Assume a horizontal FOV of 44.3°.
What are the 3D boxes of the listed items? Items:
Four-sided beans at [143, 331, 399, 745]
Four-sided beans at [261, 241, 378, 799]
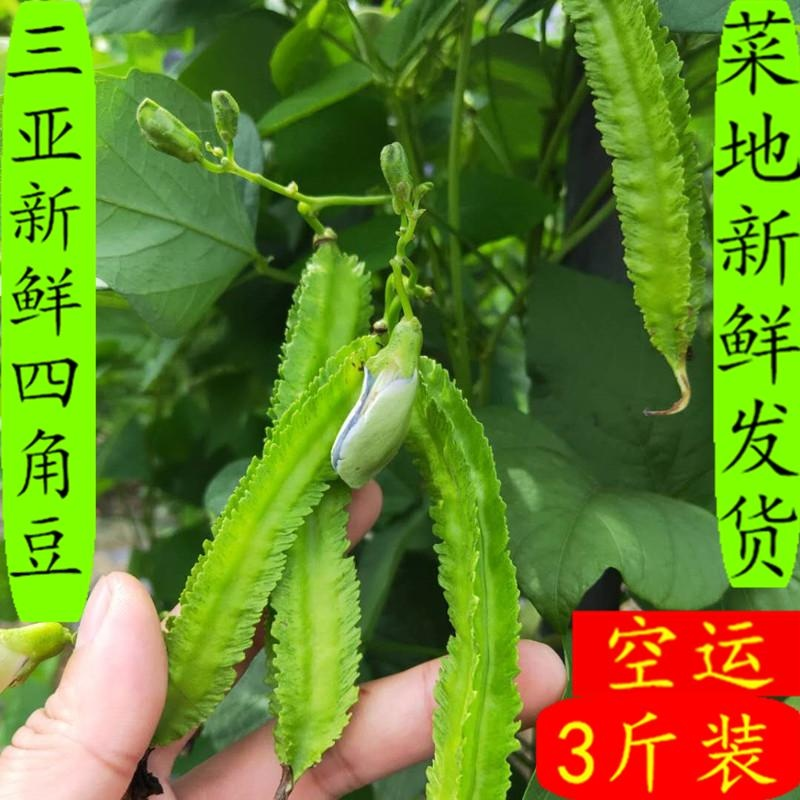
[{"bbox_3d":[-0.097,0.090,0.663,0.074,0.359,0.051,30,5,24],"label":"Four-sided beans"},{"bbox_3d":[-0.038,0.076,0.646,0.066,0.352,0.048,5,-10,4],"label":"Four-sided beans"}]
